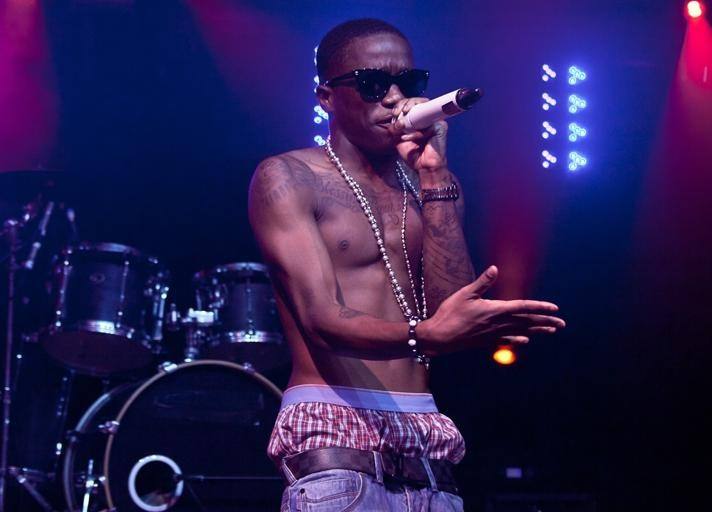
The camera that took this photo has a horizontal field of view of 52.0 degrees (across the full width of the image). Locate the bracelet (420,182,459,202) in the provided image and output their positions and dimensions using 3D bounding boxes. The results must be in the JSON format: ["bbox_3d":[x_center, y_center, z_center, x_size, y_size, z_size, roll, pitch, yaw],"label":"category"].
[{"bbox_3d":[0.377,-0.274,3.323,0.119,0.050,0.096,-16,-11,26],"label":"bracelet"}]

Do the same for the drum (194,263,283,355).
[{"bbox_3d":[-0.735,0.310,4.528,0.565,0.466,0.511,-6,-39,-15],"label":"drum"}]

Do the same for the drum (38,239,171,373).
[{"bbox_3d":[-1.563,0.346,4.523,0.715,0.823,0.465,1,-5,-8],"label":"drum"}]

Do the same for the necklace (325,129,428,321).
[{"bbox_3d":[0.050,-0.152,3.379,0.336,0.999,0.072,1,-35,-35],"label":"necklace"}]
